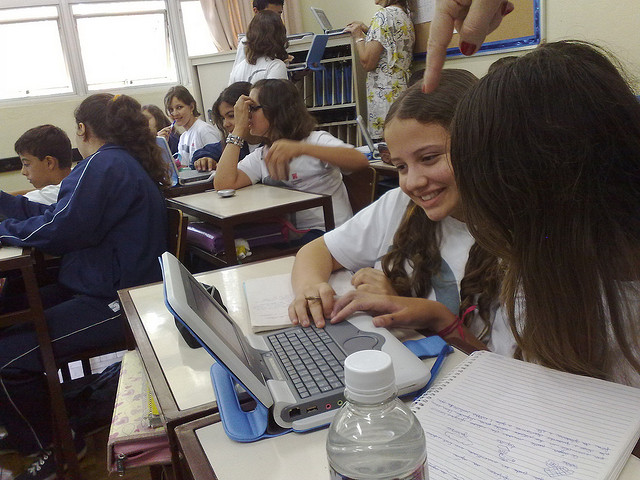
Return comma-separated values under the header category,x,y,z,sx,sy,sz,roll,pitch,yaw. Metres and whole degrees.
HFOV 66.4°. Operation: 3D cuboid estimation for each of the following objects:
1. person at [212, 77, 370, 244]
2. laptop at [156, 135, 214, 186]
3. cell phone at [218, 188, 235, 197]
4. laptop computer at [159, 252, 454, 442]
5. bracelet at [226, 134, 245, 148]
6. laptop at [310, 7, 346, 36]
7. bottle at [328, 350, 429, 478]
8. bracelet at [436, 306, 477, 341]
category,x,y,z,sx,sy,sz,roll,pitch,yaw
person,-0.216,-0.437,2.876,0.800,0.981,0.561,-5,9,15
laptop,-0.902,-0.535,3.310,0.280,0.355,0.493,-21,23,-12
cell phone,-0.512,-0.248,2.600,0.109,0.030,0.065,2,25,25
laptop computer,-0.013,0.129,0.889,0.479,0.253,0.338,-16,23,-17
bracelet,-0.502,-0.582,2.880,0.094,0.088,0.100,-6,22,5
laptop,0.057,-2.075,4.695,0.350,0.253,0.403,-1,22,19
bottle,0.066,0.202,0.554,0.078,0.213,0.082,-5,38,4
bracelet,0.300,0.187,1.100,0.074,0.058,0.060,5,14,-23
